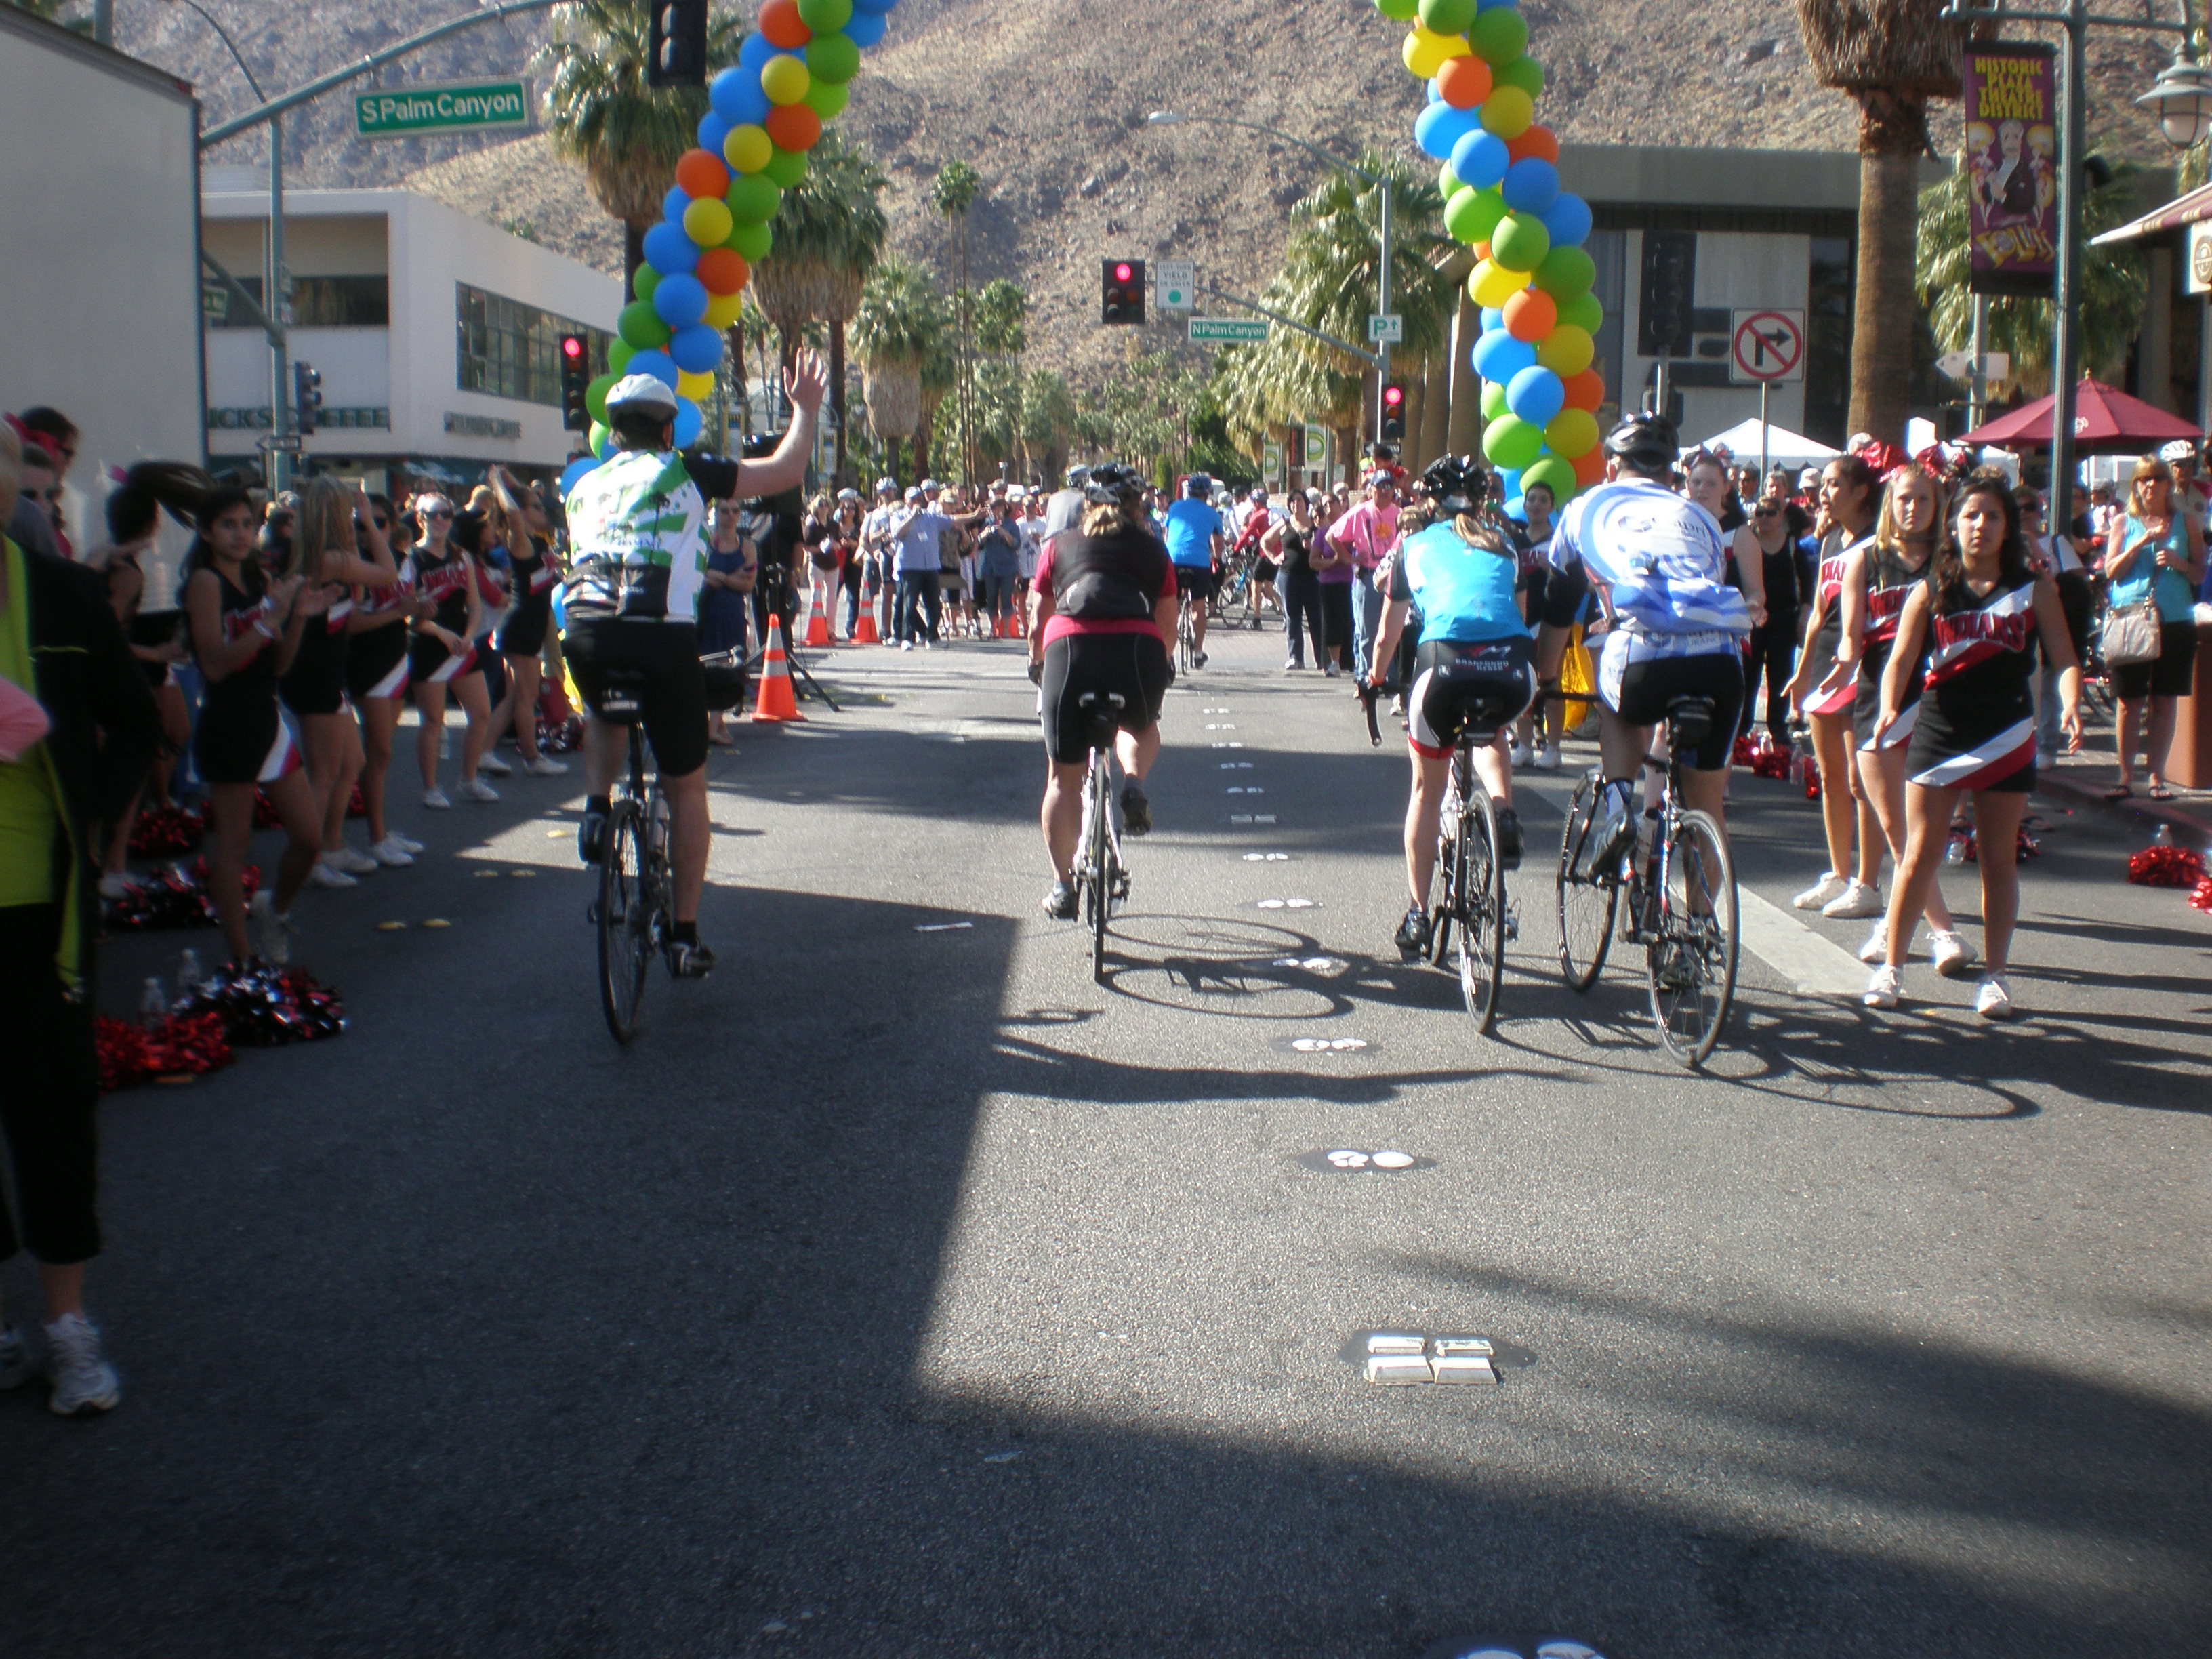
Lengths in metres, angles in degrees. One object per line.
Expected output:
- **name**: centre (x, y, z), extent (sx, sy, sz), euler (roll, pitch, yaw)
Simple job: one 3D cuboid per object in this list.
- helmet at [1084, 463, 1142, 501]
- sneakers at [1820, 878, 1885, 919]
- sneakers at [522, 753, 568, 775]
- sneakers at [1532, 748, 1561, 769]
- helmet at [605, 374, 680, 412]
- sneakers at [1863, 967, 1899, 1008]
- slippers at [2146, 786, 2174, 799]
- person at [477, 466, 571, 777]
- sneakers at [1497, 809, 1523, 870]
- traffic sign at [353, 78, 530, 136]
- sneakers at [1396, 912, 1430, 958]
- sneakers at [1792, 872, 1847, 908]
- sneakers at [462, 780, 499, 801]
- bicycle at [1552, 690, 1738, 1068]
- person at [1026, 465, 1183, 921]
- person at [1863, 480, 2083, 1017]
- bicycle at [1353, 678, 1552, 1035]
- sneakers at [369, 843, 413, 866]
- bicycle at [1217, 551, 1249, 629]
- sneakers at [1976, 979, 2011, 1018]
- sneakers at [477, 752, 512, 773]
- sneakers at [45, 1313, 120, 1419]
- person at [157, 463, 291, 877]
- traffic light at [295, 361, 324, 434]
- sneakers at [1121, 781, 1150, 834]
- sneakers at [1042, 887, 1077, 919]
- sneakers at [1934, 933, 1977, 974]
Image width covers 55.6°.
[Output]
- **helmet**: centre (0.024, -1.742, 10.348), extent (0.255, 0.176, 0.614), euler (0, 11, 1)
- **sneakers**: centre (3.960, 0.337, 11.124), extent (0.142, 0.160, 0.307), euler (-3, 6, -25)
- **sneakers**: centre (-4.499, -0.531, 16.729), extent (0.357, 0.204, 0.145), euler (-2, 15, -22)
- **sneakers**: centre (3.524, -0.603, 16.822), extent (0.126, 0.081, 0.203), euler (3, 22, 11)
- **helmet**: centre (-2.007, -1.912, 9.012), extent (0.274, 0.134, 0.342), euler (-1, 10, -5)
- **sneakers**: centre (3.460, 0.690, 9.397), extent (0.094, 0.145, 0.305), euler (0, -4, 7)
- **slippers**: centre (7.613, -0.302, 15.132), extent (0.093, 0.064, 0.150), euler (3, 8, 16)
- **person**: centre (-4.395, -1.533, 15.660), extent (0.865, 0.699, 2.368), euler (-5, -32, -24)
- **sneakers**: centre (1.717, 0.013, 8.902), extent (0.080, 0.153, 0.308), euler (-1, 1, 4)
- **traffic sign**: centre (-6.068, -6.606, 18.956), extent (1.509, 0.567, 1.107), euler (0, 10, 1)
- **sneakers**: centre (1.475, 0.497, 10.111), extent (0.129, 0.182, 0.368), euler (0, -8, 7)
- **sneakers**: centre (3.901, 0.306, 11.416), extent (0.333, 0.153, 0.171), euler (-7, -34, -10)
- **sneakers**: centre (-4.509, -0.326, 15.112), extent (0.286, 0.162, 0.115), euler (8, 17, 5)
- **bicycle**: centre (2.124, 0.244, 8.808), extent (0.640, 1.123, 1.669), euler (1, 15, -5)
- **person**: centre (-0.051, -0.651, 10.348), extent (0.713, 2.309, 0.683), euler (2, 7, 13)
- **person**: centre (3.848, -0.406, 9.310), extent (0.818, 2.332, 0.863), euler (4, 8, 27)
- **bicycle**: centre (1.612, 0.065, 9.383), extent (0.384, 1.387, 1.442), euler (1, 9, 7)
- **sneakers**: centre (-4.352, 0.126, 12.717), extent (0.284, 0.151, 0.110), euler (4, 22, -4)
- **bicycle**: centre (3.006, -6.016, 49.959), extent (0.946, 1.580, 2.332), euler (0, 23, 0)
- **sneakers**: centre (3.876, 0.715, 9.140), extent (0.149, 0.185, 0.122), euler (13, 16, 32)
- **sneakers**: centre (-4.934, -0.572, 16.818), extent (0.325, 0.188, 0.122), euler (6, 8, 20)
- **sneakers**: centre (-2.743, 1.416, 5.600), extent (0.176, 0.225, 0.243), euler (-5, 11, -31)
- **person**: centre (-4.100, -0.594, 9.999), extent (0.552, 2.149, 1.294), euler (-4, 9, -26)
- **traffic light**: centre (-13.803, -7.534, 36.049), extent (0.368, 1.110, 2.022), euler (-3, 10, -23)
- **sneakers**: centre (0.129, -0.123, 10.031), extent (0.079, 0.266, 0.119), euler (-1, 51, 6)
- **sneakers**: centre (-0.253, 0.356, 10.854), extent (0.103, 0.117, 0.256), euler (21, -5, -8)
- **sneakers**: centre (3.981, 0.571, 9.876), extent (0.104, 0.140, 0.281), euler (-8, -12, 6)
